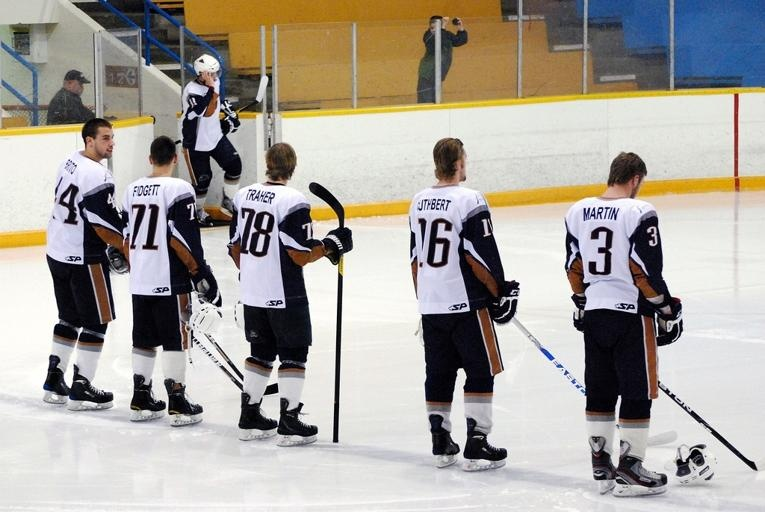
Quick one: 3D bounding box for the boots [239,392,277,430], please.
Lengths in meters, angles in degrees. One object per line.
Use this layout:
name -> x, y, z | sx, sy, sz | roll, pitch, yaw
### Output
boots -> -0.923, 1.164, 7.487 | 0.359, 0.296, 0.125 | 10, -4, -44

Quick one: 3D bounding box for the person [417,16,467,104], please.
person -> 0.866, -2.944, 15.150 | 0.779, 1.245, 0.505 | -1, 2, 11

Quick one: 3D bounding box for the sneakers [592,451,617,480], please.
sneakers -> 1.459, 1.377, 6.642 | 0.148, 0.191, 0.135 | -1, 1, 8

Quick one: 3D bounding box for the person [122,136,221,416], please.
person -> -1.624, 0.342, 7.674 | 0.677, 1.886, 0.293 | -1, 2, 23

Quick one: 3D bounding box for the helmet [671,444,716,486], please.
helmet -> 2.057, 1.373, 6.685 | 0.220, 0.247, 0.285 | -13, 14, 21

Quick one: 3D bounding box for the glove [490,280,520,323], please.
glove -> 0.862, 0.337, 7.028 | 0.147, 0.331, 0.149 | 27, 26, 35

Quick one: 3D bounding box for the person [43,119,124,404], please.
person -> -2.372, 0.054, 8.014 | 0.489, 2.317, 0.688 | -3, 2, -43

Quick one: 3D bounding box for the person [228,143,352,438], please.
person -> -0.732, 0.271, 7.437 | 0.835, 2.202, 0.382 | -1, 2, 0

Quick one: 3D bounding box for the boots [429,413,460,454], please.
boots -> 0.422, 1.224, 7.132 | 0.149, 0.315, 0.410 | 1, 6, 14

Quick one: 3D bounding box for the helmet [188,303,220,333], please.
helmet -> -1.334, 0.448, 7.620 | 0.183, 0.217, 0.229 | -20, 16, -28

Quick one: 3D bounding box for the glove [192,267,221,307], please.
glove -> -1.344, 0.231, 7.650 | 0.206, 0.316, 0.154 | -1, 2, -13

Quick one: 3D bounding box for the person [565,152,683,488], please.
person -> 1.597, 0.431, 6.710 | 0.740, 2.243, 0.420 | -1, 2, 13

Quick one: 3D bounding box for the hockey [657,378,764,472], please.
hockey -> 2.255, 1.192, 6.881 | 0.124, 1.083, 0.366 | -40, -19, -1

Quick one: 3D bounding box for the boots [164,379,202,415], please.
boots -> -1.516, 1.100, 7.743 | 0.143, 0.276, 0.407 | -4, -11, 28
